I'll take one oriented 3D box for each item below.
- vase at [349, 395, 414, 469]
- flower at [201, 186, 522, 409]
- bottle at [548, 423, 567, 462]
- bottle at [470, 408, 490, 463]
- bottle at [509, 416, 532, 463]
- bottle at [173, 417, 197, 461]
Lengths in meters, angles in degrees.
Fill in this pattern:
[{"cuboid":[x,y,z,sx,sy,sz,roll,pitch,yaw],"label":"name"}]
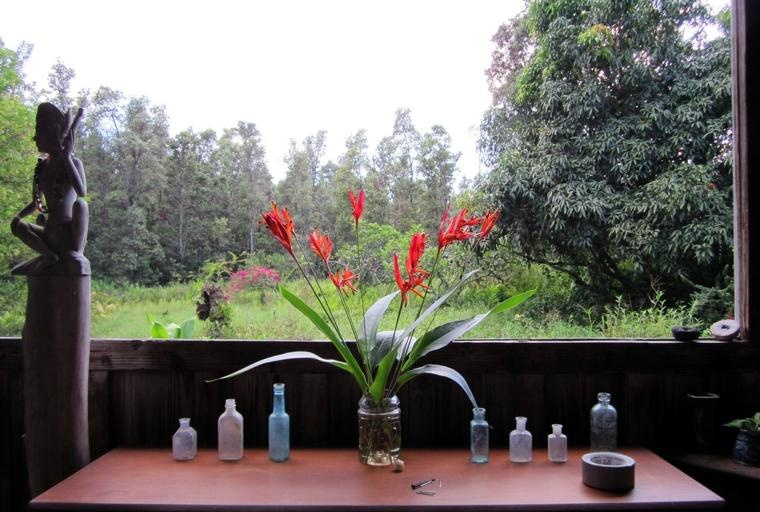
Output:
[{"cuboid":[-0.004,0.711,2.409,0.170,0.279,0.177,1,1,25],"label":"vase"},{"cuboid":[0.002,0.202,2.509,0.978,0.846,0.919,2,9,4],"label":"flower"},{"cuboid":[0.767,0.780,2.456,0.071,0.149,0.212,-3,-7,25],"label":"bottle"},{"cuboid":[0.418,0.738,2.397,0.089,0.224,0.077,0,-5,-8],"label":"bottle"},{"cuboid":[0.593,0.764,2.428,0.099,0.178,0.123,-2,-6,13],"label":"bottle"},{"cuboid":[-0.827,0.767,2.443,0.098,0.166,0.135,2,-6,-22],"label":"bottle"}]
